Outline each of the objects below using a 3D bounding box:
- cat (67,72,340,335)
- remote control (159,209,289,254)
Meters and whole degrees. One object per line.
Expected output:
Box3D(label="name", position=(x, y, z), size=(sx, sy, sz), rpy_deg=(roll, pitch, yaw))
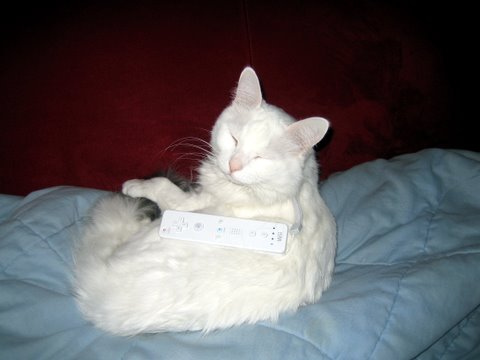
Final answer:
Box3D(label="cat", position=(-0.149, 0.139, 1.777), size=(1.209, 0.719, 0.966), rpy_deg=(-24, 50, -21))
Box3D(label="remote control", position=(-0.074, 0.227, 1.777), size=(0.554, 0.043, 0.170), rpy_deg=(8, 43, 7))
